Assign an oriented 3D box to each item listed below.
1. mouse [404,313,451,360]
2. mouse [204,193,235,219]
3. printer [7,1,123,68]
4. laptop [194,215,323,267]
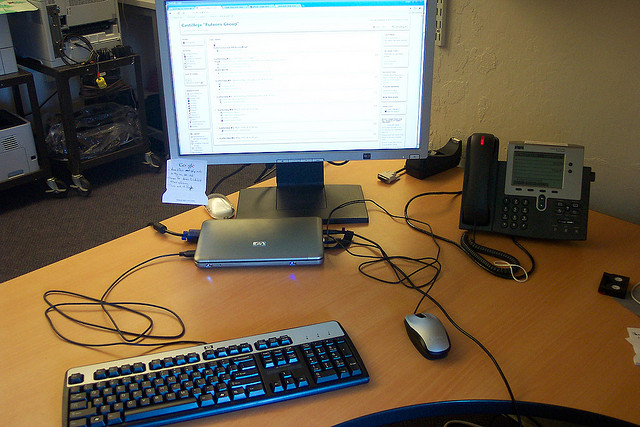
[{"bbox_3d":[0.268,0.295,1.243,0.092,0.052,0.160,-5,26,-16],"label":"mouse"},{"bbox_3d":[-0.333,-0.018,1.600,0.091,0.035,0.147,-14,36,-26],"label":"mouse"},{"bbox_3d":[-1.520,-1.087,2.919,0.637,0.346,0.379,-10,31,-17],"label":"printer"},{"bbox_3d":[-0.170,0.090,1.475,0.376,0.050,0.239,0,28,2],"label":"laptop"}]
